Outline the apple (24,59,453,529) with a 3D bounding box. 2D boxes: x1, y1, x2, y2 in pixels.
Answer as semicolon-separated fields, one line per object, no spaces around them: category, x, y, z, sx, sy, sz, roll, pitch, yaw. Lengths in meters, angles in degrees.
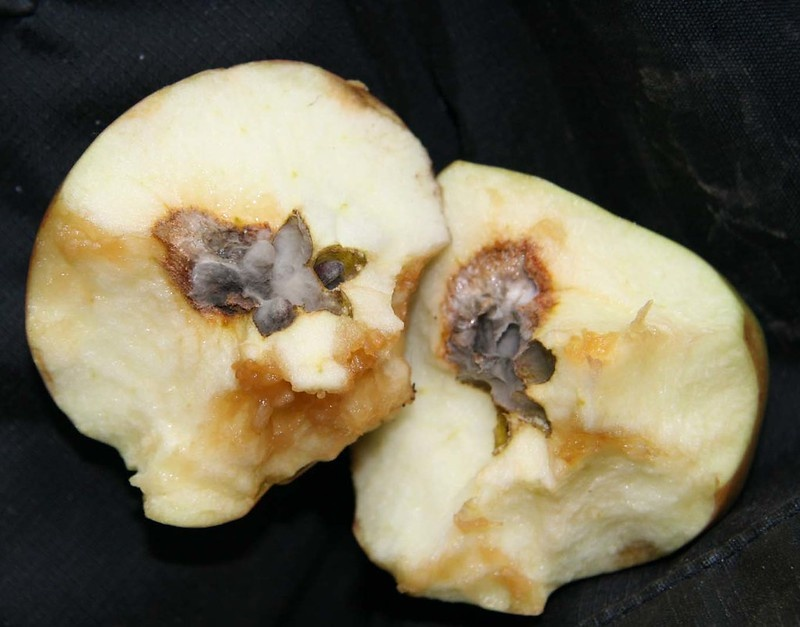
apple;-0.174;-0.035;1.143;0.486;0.152;0.418;-39;79;-11
